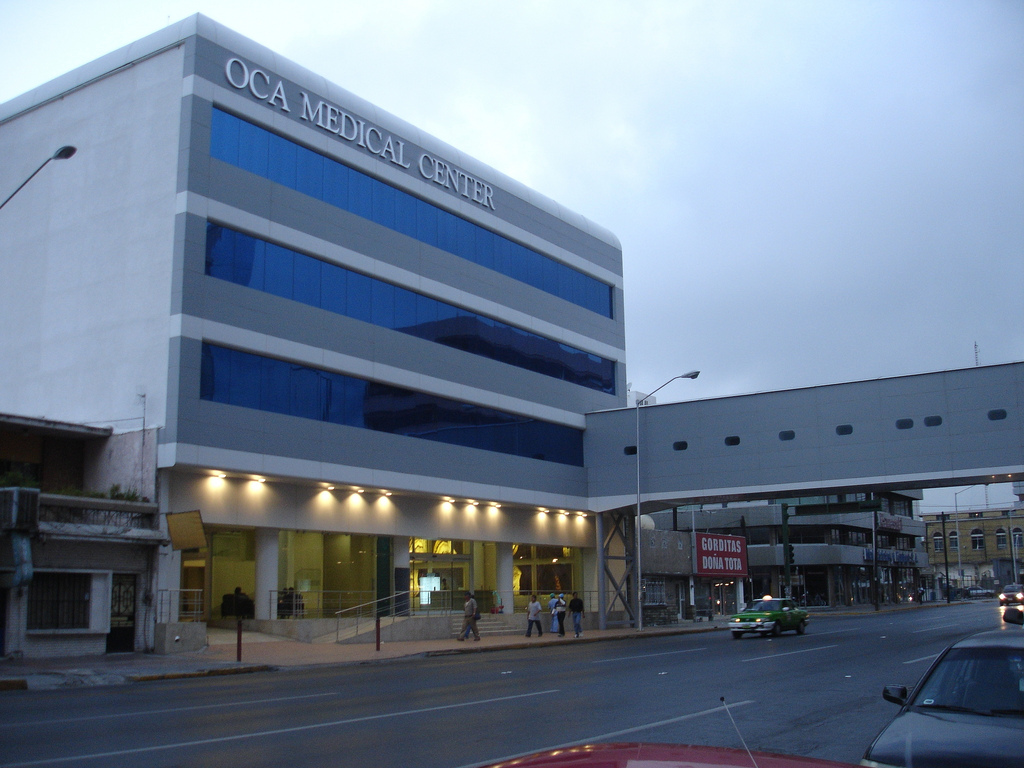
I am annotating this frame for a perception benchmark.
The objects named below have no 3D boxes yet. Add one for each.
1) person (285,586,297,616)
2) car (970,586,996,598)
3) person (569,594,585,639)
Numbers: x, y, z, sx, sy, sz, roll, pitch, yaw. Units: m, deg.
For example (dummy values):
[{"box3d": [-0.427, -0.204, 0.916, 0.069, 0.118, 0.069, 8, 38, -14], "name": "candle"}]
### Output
[{"box3d": [-8.647, 8.615, 37.579, 0.388, 0.931, 0.608, 0, 1, -14], "name": "person"}, {"box3d": [59.775, 26.575, 121.436, 3.423, 1.334, 1.703, -7, -10, 21], "name": "car"}, {"box3d": [2.917, 10.868, 44.404, 0.557, 1.679, 1.727, 0, 1, -3], "name": "person"}]
